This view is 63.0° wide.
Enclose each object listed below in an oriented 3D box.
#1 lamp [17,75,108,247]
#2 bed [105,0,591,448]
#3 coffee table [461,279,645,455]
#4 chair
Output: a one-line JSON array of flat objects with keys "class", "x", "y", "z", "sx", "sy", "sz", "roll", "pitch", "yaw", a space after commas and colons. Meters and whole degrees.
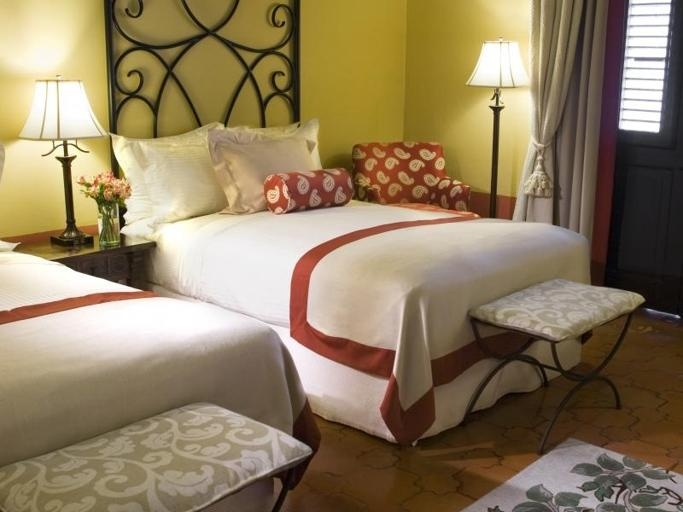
[{"class": "lamp", "x": -1.566, "y": -0.544, "z": 3.171, "sx": 0.425, "sy": 0.938, "sz": 0.425, "roll": -9, "pitch": 14, "yaw": -30}, {"class": "bed", "x": 0.033, "y": -0.279, "z": 3.218, "sx": 1.765, "sy": 1.476, "sz": 2.072, "roll": -18, "pitch": 24, "yaw": -40}, {"class": "coffee table", "x": 1.000, "y": 0.494, "z": 2.704, "sx": 0.828, "sy": 0.617, "sz": 0.538, "roll": -9, "pitch": 12, "yaw": -38}, {"class": "chair", "x": 0.551, "y": -0.659, "z": 4.524, "sx": 0.641, "sy": 0.922, "sz": 0.739, "roll": -3, "pitch": 9, "yaw": -17}]
